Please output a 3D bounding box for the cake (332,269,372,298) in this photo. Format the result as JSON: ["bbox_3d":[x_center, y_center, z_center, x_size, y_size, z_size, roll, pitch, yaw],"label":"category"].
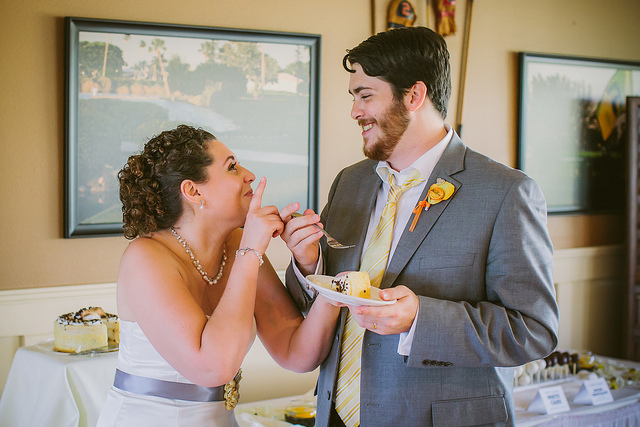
[{"bbox_3d":[0.096,0.310,2.615,0.212,0.124,0.198,3,-4,-24],"label":"cake"}]

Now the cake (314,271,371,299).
[{"bbox_3d":[0.127,0.308,2.558,0.148,0.061,0.146,4,0,-37],"label":"cake"}]

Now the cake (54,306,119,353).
[{"bbox_3d":[-1.457,0.721,3.692,0.385,0.232,0.391,2,0,8],"label":"cake"}]

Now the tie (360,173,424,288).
[{"bbox_3d":[0.335,0.074,2.869,0.221,0.604,0.032,15,-15,22],"label":"tie"}]

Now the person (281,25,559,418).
[{"bbox_3d":[0.448,0.059,2.676,1.217,1.829,0.749,3,10,23],"label":"person"}]

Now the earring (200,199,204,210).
[{"bbox_3d":[-0.566,-0.042,2.805,0.018,0.050,0.020,-4,10,-18],"label":"earring"}]

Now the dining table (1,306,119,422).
[{"bbox_3d":[-1.491,0.911,3.551,0.742,0.449,0.863,1,-1,-13],"label":"dining table"}]

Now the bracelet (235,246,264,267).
[{"bbox_3d":[-0.339,0.210,2.840,0.119,0.143,0.226,-1,9,-3],"label":"bracelet"}]
